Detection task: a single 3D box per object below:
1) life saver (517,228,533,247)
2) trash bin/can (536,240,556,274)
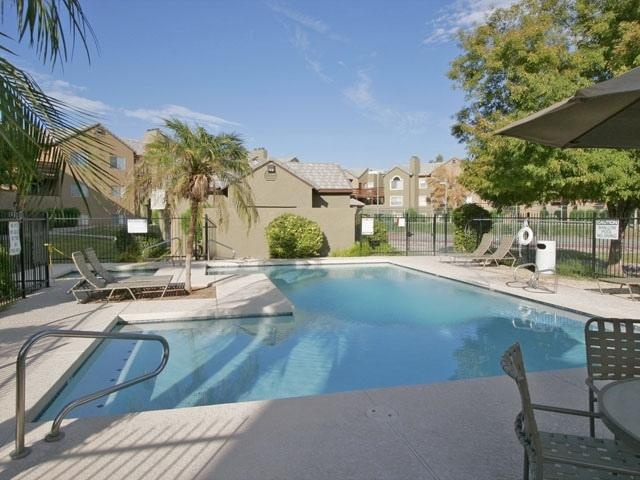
[{"bbox_3d":[7.097,-0.171,14.945,0.404,0.605,0.803,4,8,31],"label":"life saver"},{"bbox_3d":[6.653,0.476,12.740,0.488,0.904,0.476,3,7,24],"label":"trash bin/can"}]
